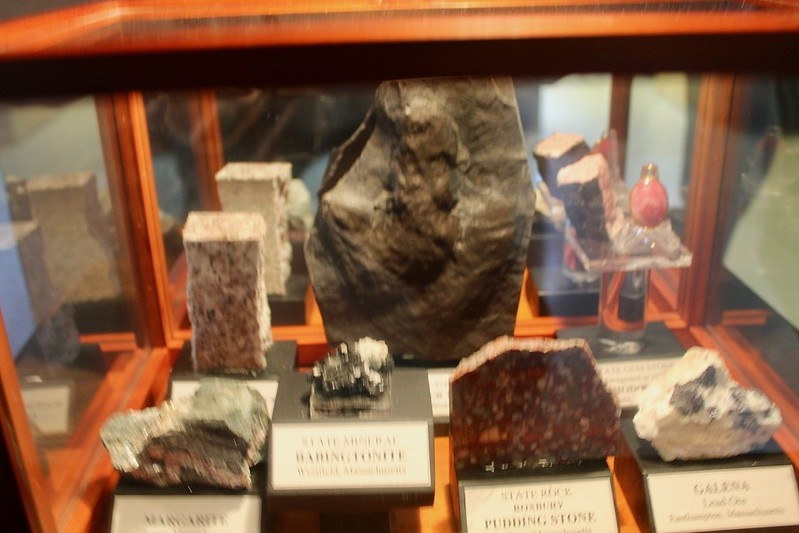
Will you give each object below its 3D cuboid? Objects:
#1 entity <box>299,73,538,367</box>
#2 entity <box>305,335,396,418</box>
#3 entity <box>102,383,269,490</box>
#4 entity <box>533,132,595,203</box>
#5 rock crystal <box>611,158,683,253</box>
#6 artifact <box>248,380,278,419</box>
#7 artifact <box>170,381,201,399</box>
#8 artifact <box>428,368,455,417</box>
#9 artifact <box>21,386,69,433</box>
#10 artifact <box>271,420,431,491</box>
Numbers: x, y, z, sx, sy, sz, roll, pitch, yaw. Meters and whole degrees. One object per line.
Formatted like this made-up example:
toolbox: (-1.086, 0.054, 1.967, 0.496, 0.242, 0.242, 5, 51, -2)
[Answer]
entity: (0.040, -0.214, 2.032, 0.546, 0.842, 0.447, -3, 45, -1)
entity: (-0.083, 0.253, 1.812, 0.274, 0.080, 0.167, -10, 41, 10)
entity: (-0.486, 0.379, 1.773, 0.277, 0.106, 0.228, 12, 23, 9)
entity: (0.377, -0.262, 1.814, 0.084, 0.091, 0.086, -40, 21, -10)
rock crystal: (0.643, -0.165, 1.993, 0.200, 0.226, 0.197, -20, 28, -40)
artifact: (-0.343, 0.338, 1.972, 0.073, 0.019, 0.075, 2, 57, 3)
artifact: (-0.537, 0.305, 1.933, 0.047, 0.027, 0.035, 0, 61, 3)
artifact: (0.102, 0.316, 1.966, 0.095, 0.027, 0.115, 0, 68, -4)
artifact: (-0.788, 0.313, 1.725, 0.022, 0.098, 0.097, -2, -2, 20)
artifact: (-0.118, 0.410, 1.701, 0.267, 0.162, 0.065, -1, -14, 0)
